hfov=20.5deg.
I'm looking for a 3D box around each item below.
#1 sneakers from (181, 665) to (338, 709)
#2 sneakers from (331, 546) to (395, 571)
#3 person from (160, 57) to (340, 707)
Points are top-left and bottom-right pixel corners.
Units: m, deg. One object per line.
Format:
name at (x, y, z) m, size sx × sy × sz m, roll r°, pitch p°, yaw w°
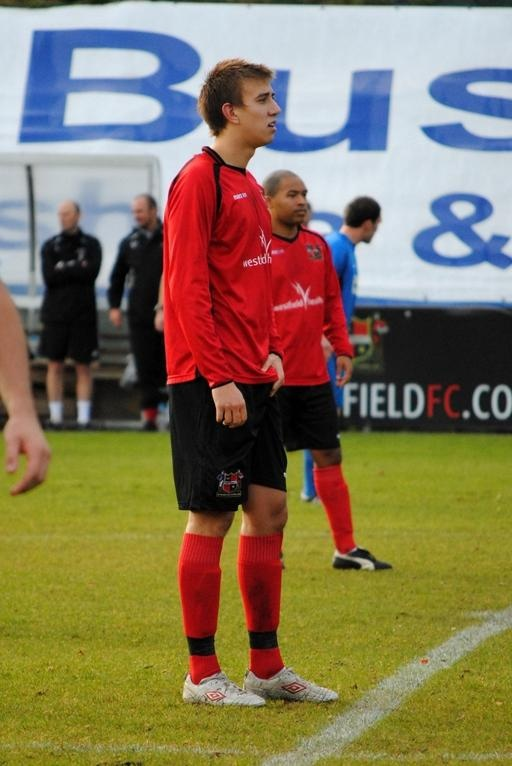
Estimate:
sneakers at (0.005, 0.677, 3.241) m, size 0.363 × 0.123 × 0.120 m, roll -1°, pitch -7°, yaw -1°
sneakers at (0.329, 0.546, 4.444) m, size 0.194 × 0.080 × 0.066 m, roll -1°, pitch -16°, yaw 18°
person at (-0.029, -0.014, 3.272) m, size 0.345 × 1.462 × 0.386 m, roll 0°, pitch 6°, yaw -9°
